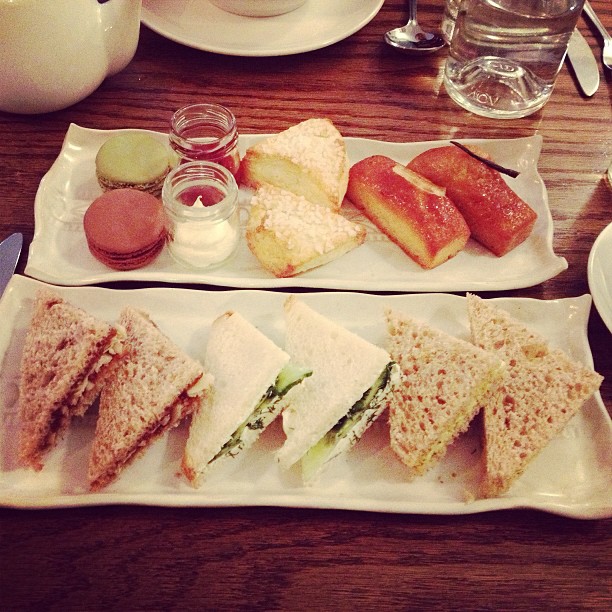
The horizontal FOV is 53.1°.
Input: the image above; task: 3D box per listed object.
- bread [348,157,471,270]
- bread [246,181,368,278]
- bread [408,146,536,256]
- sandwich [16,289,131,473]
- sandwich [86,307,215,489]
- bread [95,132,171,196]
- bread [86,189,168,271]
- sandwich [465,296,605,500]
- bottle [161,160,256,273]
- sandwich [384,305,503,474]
[{"bbox_3d":[0.216,-0.220,1.231,0.112,0.102,0.271,-35,62,16],"label":"bread"},{"bbox_3d":[0.003,-0.144,1.181,0.207,0.065,0.168,5,43,-4],"label":"bread"},{"bbox_3d":[0.335,-0.224,1.249,0.142,0.089,0.267,-40,66,-13],"label":"bread"},{"bbox_3d":[-0.401,0.114,0.968,0.161,0.068,0.242,25,86,39],"label":"sandwich"},{"bbox_3d":[-0.264,0.142,0.951,0.215,0.059,0.209,-48,54,-8],"label":"sandwich"},{"bbox_3d":[-0.339,-0.251,1.213,0.129,0.061,0.129,12,52,-3],"label":"bread"},{"bbox_3d":[-0.335,-0.141,1.144,0.135,0.082,0.141,26,62,10],"label":"bread"},{"bbox_3d":[0.340,0.141,0.964,0.233,0.066,0.245,30,68,19],"label":"sandwich"},{"bbox_3d":[-0.191,-0.168,1.142,0.132,0.132,0.160,-5,61,-7],"label":"bottle"},{"bbox_3d":[0.202,0.130,0.950,0.212,0.049,0.207,-32,61,-11],"label":"sandwich"}]
